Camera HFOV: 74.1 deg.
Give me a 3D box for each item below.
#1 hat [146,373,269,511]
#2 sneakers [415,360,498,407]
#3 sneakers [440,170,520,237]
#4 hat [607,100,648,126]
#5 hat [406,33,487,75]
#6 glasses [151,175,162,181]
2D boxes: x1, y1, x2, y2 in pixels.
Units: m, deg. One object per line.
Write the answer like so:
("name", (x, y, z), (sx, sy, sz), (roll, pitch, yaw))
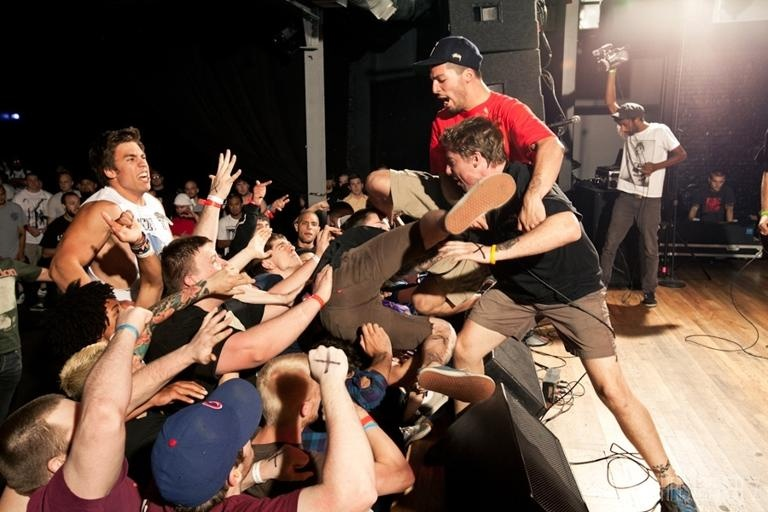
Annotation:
("hat", (-0.832, 0.933, 2.517), (0.252, 0.465, 0.556), (11, 23, 42))
("sneakers", (0.457, 0.794, 3.338), (0.554, 0.222, 0.216), (12, 24, 8))
("sneakers", (0.604, -0.334, 3.167), (0.611, 0.238, 0.236), (-34, 14, -7))
("hat", (3.289, -1.950, 7.012), (0.404, 0.291, 0.566), (-25, 26, -6))
("hat", (0.534, -1.590, 4.027), (0.487, 0.260, 0.312), (8, 21, 2))
("glasses", (-3.686, -1.285, 8.266), (0.111, 0.113, 0.038), (0, -11, -2))
